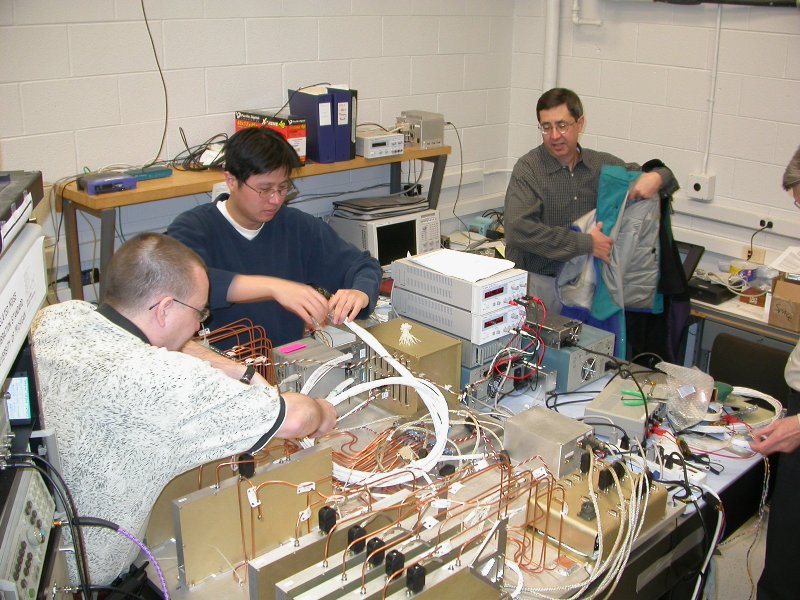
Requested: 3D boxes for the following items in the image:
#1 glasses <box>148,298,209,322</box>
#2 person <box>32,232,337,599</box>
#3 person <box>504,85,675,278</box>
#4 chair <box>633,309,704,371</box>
[{"bbox_3d":[-0.559,0.035,1.660,0.074,0.023,0.069,31,-26,-29],"label":"glasses"},{"bbox_3d":[-0.584,0.195,1.839,0.773,0.876,0.637,-5,45,-15],"label":"person"},{"bbox_3d":[1.141,-0.664,3.595,0.719,1.041,0.695,-30,42,-14],"label":"person"},{"bbox_3d":[1.488,0.207,3.479,0.320,0.329,0.180,0,9,-1],"label":"chair"}]
